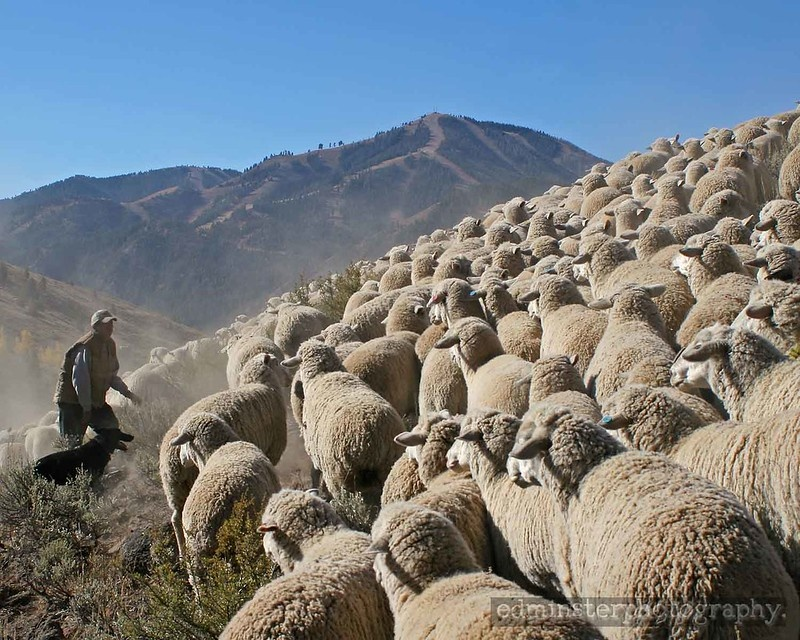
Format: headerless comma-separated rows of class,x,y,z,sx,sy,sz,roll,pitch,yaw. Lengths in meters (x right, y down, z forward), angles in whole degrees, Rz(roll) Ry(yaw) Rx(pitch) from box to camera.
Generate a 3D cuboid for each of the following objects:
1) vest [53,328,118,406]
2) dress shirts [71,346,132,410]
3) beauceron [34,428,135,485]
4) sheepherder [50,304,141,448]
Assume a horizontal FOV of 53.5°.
vest,-5.071,0.753,13.097,0.638,1.155,0.823,15,9,8
dress shirts,-5.000,0.969,13.308,0.665,1.096,1.533,-7,3,-4
beauceron,-4.915,2.147,12.220,1.162,0.684,1.468,5,11,26
sheepherder,-5.117,1.005,13.191,0.920,2.634,1.016,3,8,41
